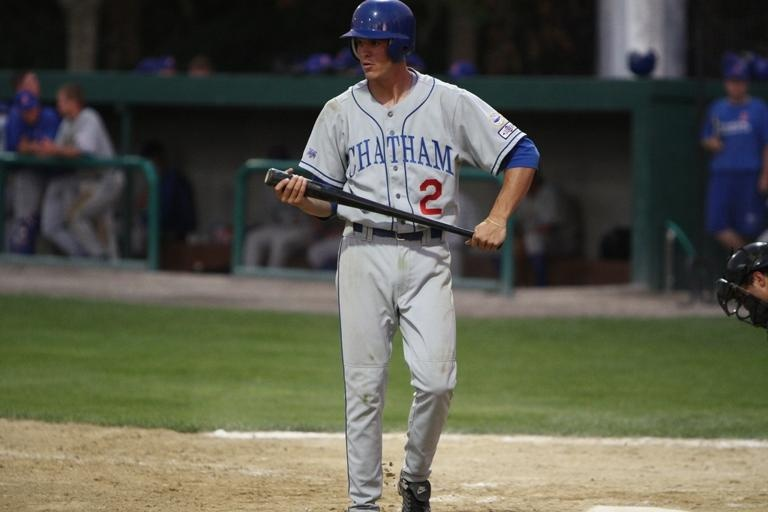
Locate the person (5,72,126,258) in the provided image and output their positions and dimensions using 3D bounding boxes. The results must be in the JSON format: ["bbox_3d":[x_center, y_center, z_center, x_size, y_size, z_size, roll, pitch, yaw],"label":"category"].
[{"bbox_3d":[-2.433,-0.604,12.397,0.879,1.442,0.646,-1,14,-9],"label":"person"}]

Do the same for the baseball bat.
[{"bbox_3d":[-0.008,-0.324,11.843,1.839,0.157,0.195,20,44,2],"label":"baseball bat"}]
